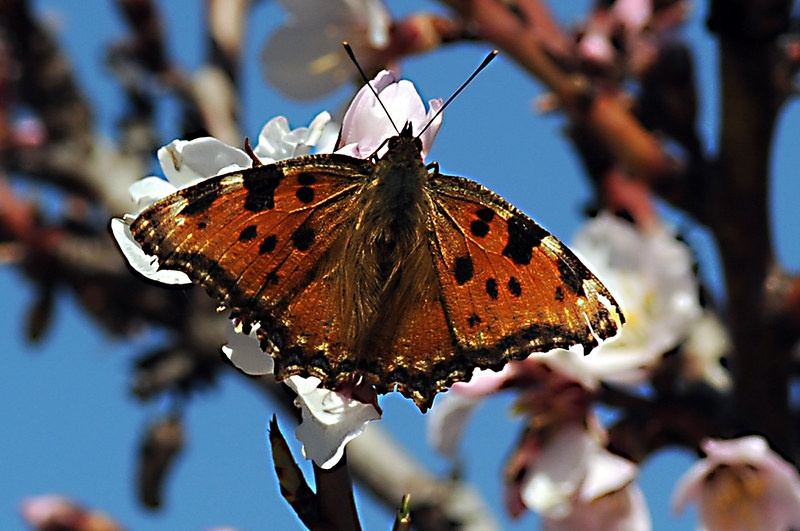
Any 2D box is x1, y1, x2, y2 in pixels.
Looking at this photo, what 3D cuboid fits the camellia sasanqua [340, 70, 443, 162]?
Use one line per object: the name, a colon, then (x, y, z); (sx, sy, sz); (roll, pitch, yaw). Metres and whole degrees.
camellia sasanqua: (-0.024, -0.262, 2.573); (0.173, 0.137, 0.081); (-5, 40, -13)
